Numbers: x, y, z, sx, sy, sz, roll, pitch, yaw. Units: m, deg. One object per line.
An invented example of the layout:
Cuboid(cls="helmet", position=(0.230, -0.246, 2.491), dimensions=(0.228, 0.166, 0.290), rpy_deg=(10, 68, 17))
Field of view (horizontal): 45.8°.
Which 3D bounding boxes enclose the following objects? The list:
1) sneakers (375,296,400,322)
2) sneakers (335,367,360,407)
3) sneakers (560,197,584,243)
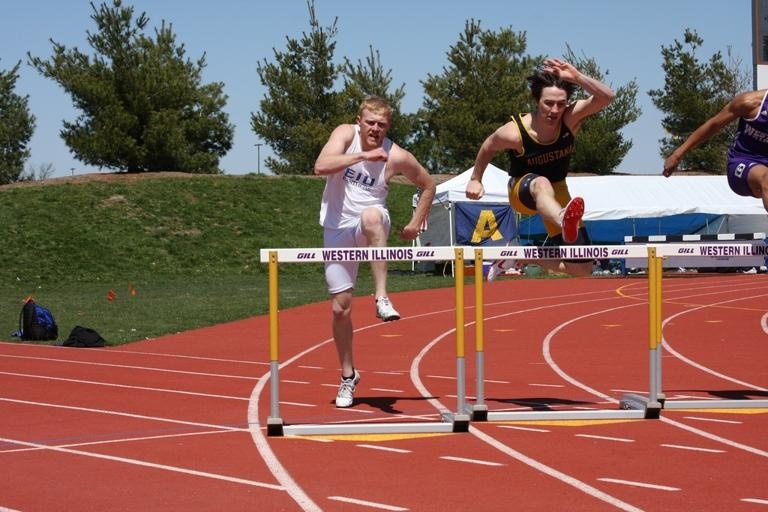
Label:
Cuboid(cls="sneakers", position=(0.035, 0.615, 10.490), dimensions=(0.191, 0.268, 0.366), rpy_deg=(-1, 4, -12))
Cuboid(cls="sneakers", position=(-0.487, 1.666, 11.258), dimensions=(0.196, 0.550, 0.246), rpy_deg=(3, -21, 28))
Cuboid(cls="sneakers", position=(2.148, -0.399, 10.490), dimensions=(0.222, 0.562, 0.246), rpy_deg=(1, 22, -14))
